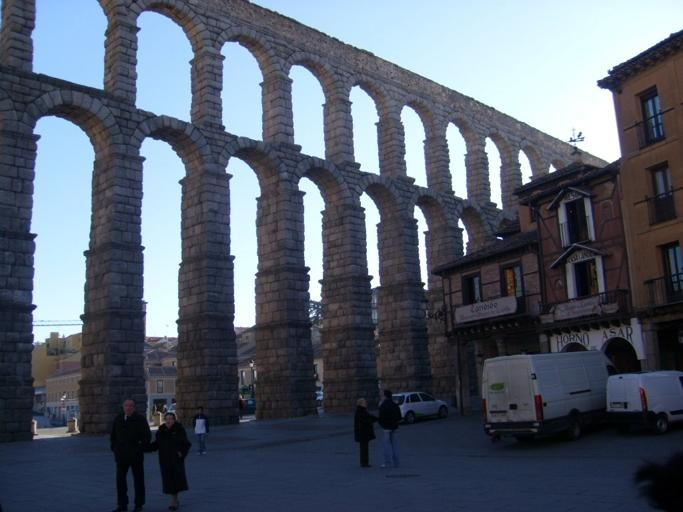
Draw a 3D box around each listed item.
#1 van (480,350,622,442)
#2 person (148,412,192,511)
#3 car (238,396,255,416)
[{"bbox_3d":[6.949,4.655,25.310,4.060,2.858,1.604,-1,-3,-27],"label":"van"},{"bbox_3d":[-3.907,4.817,17.798,0.813,2.172,0.732,-5,-4,35],"label":"person"},{"bbox_3d":[-7.550,11.954,61.985,1.065,1.404,2.041,-2,-6,-6],"label":"car"}]
